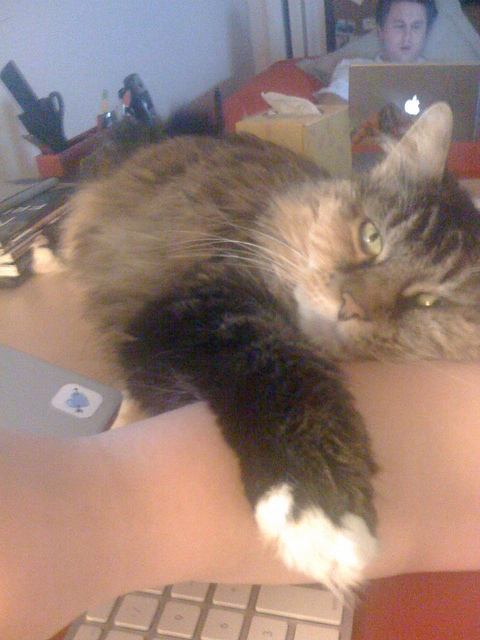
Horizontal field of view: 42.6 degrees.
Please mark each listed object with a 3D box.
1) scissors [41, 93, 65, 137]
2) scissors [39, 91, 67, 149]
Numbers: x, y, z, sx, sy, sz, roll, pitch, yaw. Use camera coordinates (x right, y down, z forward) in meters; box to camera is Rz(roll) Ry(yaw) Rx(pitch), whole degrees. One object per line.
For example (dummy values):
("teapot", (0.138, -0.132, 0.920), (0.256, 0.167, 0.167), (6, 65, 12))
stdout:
("scissors", (-0.283, -0.319, 0.956), (0.039, 0.041, 0.024), (-33, 33, 5))
("scissors", (-0.282, -0.316, 0.956), (0.017, 0.074, 0.038), (7, 34, 30))
